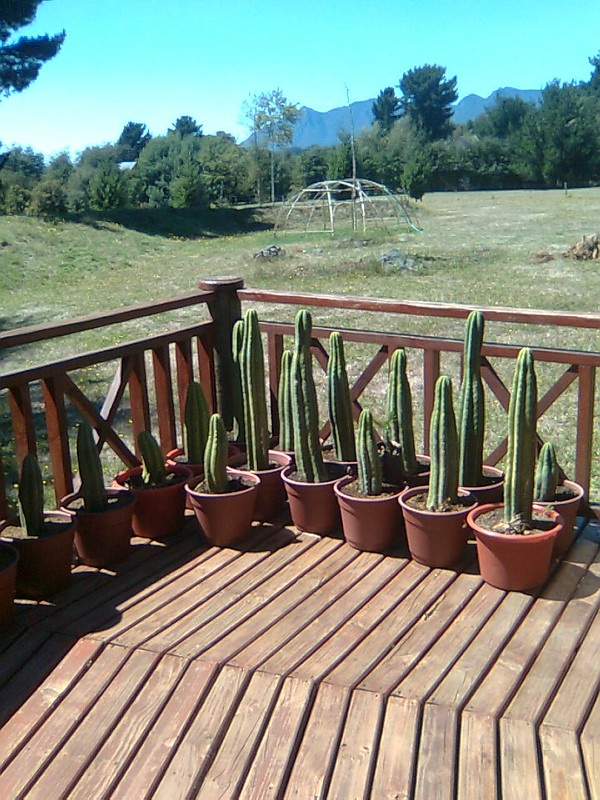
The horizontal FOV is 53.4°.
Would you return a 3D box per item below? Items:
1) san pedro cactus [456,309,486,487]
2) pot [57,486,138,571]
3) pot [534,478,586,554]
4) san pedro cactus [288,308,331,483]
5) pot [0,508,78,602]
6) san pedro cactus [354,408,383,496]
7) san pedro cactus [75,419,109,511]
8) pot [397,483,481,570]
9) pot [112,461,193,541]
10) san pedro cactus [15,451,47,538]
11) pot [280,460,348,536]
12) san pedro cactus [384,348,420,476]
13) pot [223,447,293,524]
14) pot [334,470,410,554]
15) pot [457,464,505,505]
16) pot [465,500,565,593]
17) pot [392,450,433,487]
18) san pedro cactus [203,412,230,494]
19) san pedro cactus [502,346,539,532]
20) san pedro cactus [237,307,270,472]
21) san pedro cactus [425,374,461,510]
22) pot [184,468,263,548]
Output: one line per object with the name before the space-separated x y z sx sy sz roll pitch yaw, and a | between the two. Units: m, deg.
san pedro cactus | 0.715 0.004 2.477 0.092 0.727 0.217 2 11 19
pot | -0.791 0.532 2.441 0.271 0.227 0.284 -1 16 0
pot | 1.051 0.487 2.419 0.243 0.199 0.243 -9 20 3
san pedro cactus | 0.037 -0.017 2.635 0.149 0.735 0.285 -2 10 -1
pot | -0.934 0.552 2.150 0.258 0.216 0.271 -1 6 0
san pedro cactus | 0.287 0.207 2.462 0.109 0.363 0.196 0 10 7
san pedro cactus | -0.827 0.250 2.359 0.098 0.371 0.258 -5 11 -20
pot | 0.531 0.505 2.335 0.268 0.209 0.270 -1 16 0
pot | -0.668 0.473 2.701 0.293 0.235 0.309 -1 16 0
san pedro cactus | -0.968 0.337 2.152 0.086 0.297 0.194 -7 11 -27
pot | 0.073 0.456 2.688 0.257 0.218 0.283 -8 -10 18
san pedro cactus | 0.454 0.065 2.645 0.138 0.569 0.262 0 10 11
pot | -0.192 0.381 2.925 0.301 0.248 0.296 -2 14 0
pot | 0.285 0.490 2.489 0.259 0.206 0.252 0 1 0
pot | 0.780 0.357 2.568 0.155 0.103 0.150 -9 10 2
pot | 0.796 0.537 2.208 0.373 0.233 0.303 -11 14 -42
pot | 0.538 0.313 2.742 0.130 0.097 0.131 -3 13 1
san pedro cactus | -0.360 0.221 2.522 0.098 0.351 0.207 -3 10 -10
san pedro cactus | 0.788 0.137 2.133 0.099 0.627 0.220 2 11 21
san pedro cactus | -0.213 -0.042 2.805 0.119 0.750 0.271 -3 10 -5
san pedro cactus | 0.553 0.155 2.307 0.121 0.518 0.246 1 10 14
pot | -0.313 0.441 2.541 0.275 0.203 0.273 -2 12 0
